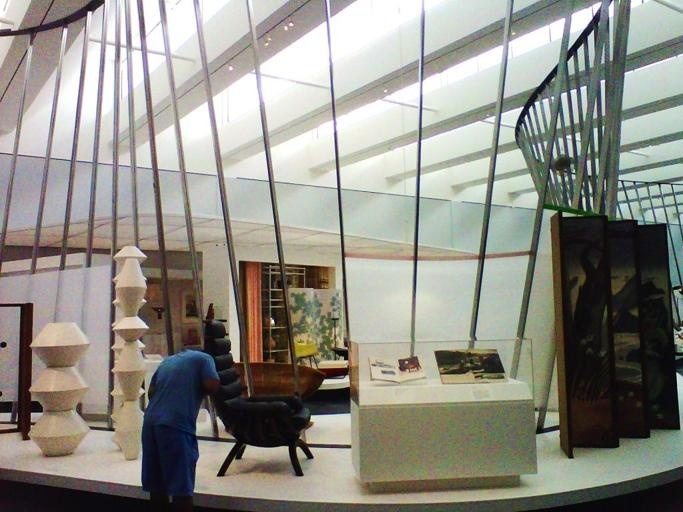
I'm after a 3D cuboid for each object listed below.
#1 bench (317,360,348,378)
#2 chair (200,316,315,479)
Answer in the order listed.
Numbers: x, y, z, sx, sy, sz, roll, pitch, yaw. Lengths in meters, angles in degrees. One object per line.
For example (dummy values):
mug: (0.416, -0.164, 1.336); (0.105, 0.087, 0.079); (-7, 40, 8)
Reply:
bench: (-0.177, 2.180, 9.996); (0.567, 0.233, 0.604); (1, -5, -6)
chair: (-1.112, 1.525, 6.087); (1.409, 1.909, 1.418); (-1, -9, -1)
